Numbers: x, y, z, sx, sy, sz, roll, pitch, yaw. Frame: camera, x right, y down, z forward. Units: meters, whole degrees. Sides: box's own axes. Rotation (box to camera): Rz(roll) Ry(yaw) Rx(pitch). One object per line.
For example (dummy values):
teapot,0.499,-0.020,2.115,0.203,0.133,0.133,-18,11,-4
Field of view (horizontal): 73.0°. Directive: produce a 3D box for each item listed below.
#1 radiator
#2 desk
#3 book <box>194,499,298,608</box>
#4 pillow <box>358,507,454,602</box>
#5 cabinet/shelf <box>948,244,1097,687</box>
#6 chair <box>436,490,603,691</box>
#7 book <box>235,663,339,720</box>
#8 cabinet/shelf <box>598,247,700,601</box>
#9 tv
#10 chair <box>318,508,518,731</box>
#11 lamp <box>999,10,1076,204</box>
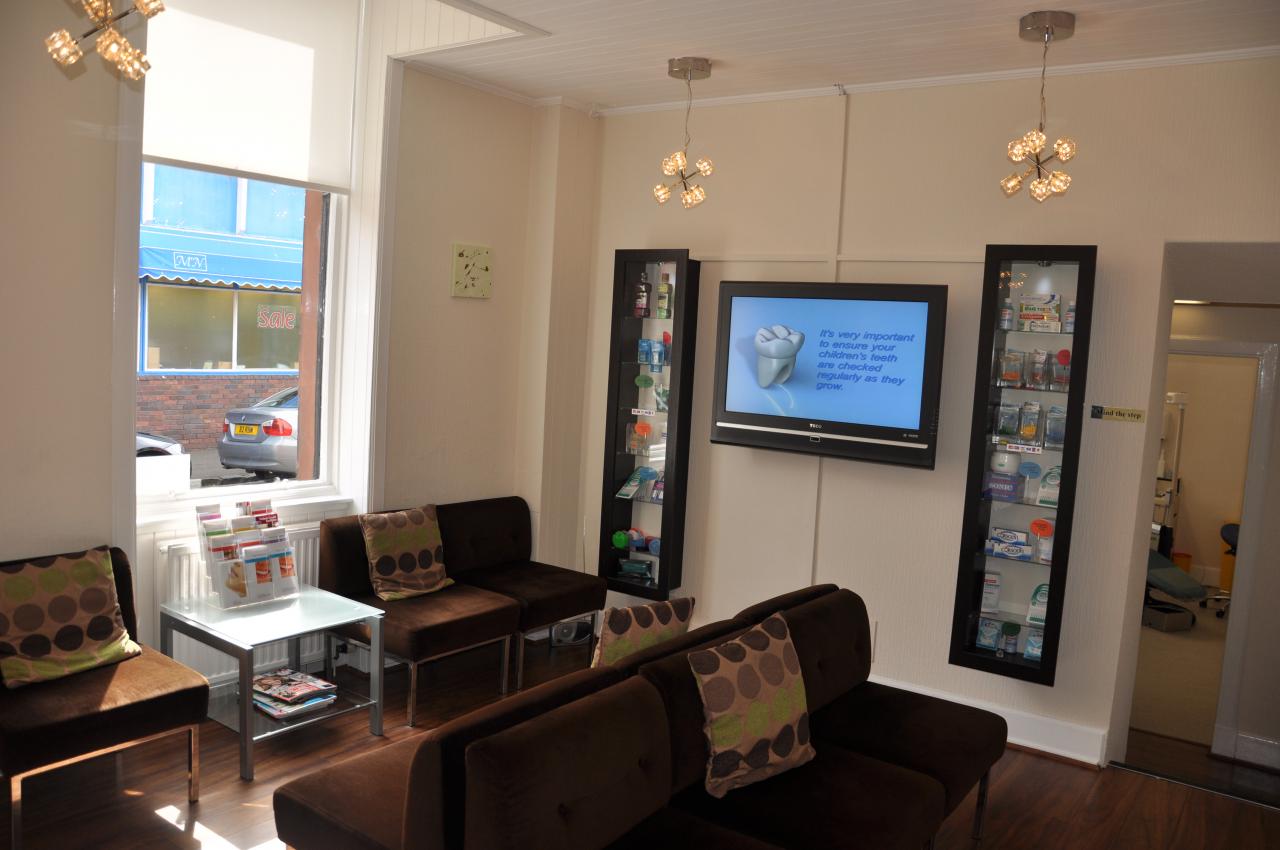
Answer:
radiator,-2.338,1.031,5.145,1.044,0.872,0.110,-5,9,-41
desk,-2.213,1.441,5.198,1.081,0.815,0.932,20,19,36
book,-2.384,0.782,5.189,0.379,0.728,0.548,-8,0,43
pillow,-1.550,0.847,5.761,0.318,0.531,0.624,2,5,35
cabinet/shelf,2.317,0.233,5.220,0.646,2.525,0.240,7,6,38
chair,-0.841,1.149,6.130,0.924,1.089,0.987,0,7,-43
book,-2.085,1.563,5.071,0.446,0.104,0.442,15,15,36
cabinet/shelf,0.038,-0.012,6.321,0.691,2.500,0.499,6,12,15
tv,1.294,-0.352,5.685,1.252,0.932,0.128,8,5,26
chair,-1.404,1.178,5.655,1.088,0.987,1.042,7,5,30
lamp,2.178,-1.689,4.698,0.387,0.976,1.360,9,13,24
